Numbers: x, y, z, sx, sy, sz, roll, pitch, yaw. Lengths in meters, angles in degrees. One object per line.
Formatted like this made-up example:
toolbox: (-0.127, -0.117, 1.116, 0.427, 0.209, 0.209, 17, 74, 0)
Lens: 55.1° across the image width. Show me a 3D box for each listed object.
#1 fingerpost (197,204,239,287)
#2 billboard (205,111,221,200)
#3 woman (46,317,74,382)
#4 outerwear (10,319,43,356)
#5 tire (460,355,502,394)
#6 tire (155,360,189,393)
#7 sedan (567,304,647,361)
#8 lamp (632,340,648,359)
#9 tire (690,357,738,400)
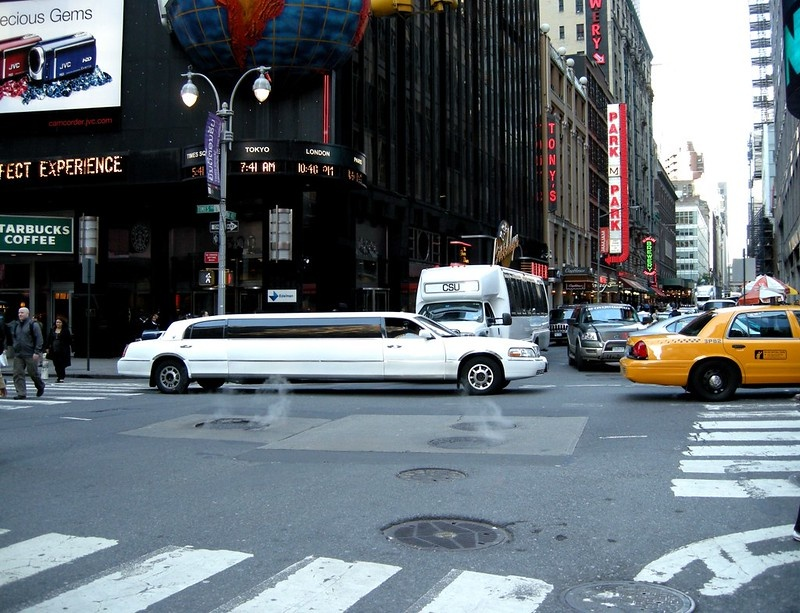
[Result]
fingerpost: (-6.348, -2.320, 26.388, 1.183, 3.095, 7.122, -1, 2, -15)
billboard: (-5.973, -4.853, 24.542, 0.495, 2.754, 1.502, -1, 2, -13)
woman: (-9.979, 1.255, 22.366, 0.569, 1.898, 0.593, 1, 3, -2)
outerwear: (-8.637, 0.669, 17.653, 0.878, 0.971, 0.399, 2, 2, 23)
tire: (1.759, 1.461, 16.548, 0.633, 0.704, 0.229, 10, -10, 12)
tire: (-5.361, 1.610, 18.024, 0.695, 0.780, 0.262, -1, -2, 16)
sedan: (6.248, 0.853, 24.358, 1.353, 1.241, 2.983, -1, -8, 5)
lamp: (4.699, 0.834, 14.993, 0.294, 0.156, 0.514, 0, 4, 4)
tire: (6.015, 1.341, 14.691, 0.726, 0.814, 0.293, 0, 4, 2)
